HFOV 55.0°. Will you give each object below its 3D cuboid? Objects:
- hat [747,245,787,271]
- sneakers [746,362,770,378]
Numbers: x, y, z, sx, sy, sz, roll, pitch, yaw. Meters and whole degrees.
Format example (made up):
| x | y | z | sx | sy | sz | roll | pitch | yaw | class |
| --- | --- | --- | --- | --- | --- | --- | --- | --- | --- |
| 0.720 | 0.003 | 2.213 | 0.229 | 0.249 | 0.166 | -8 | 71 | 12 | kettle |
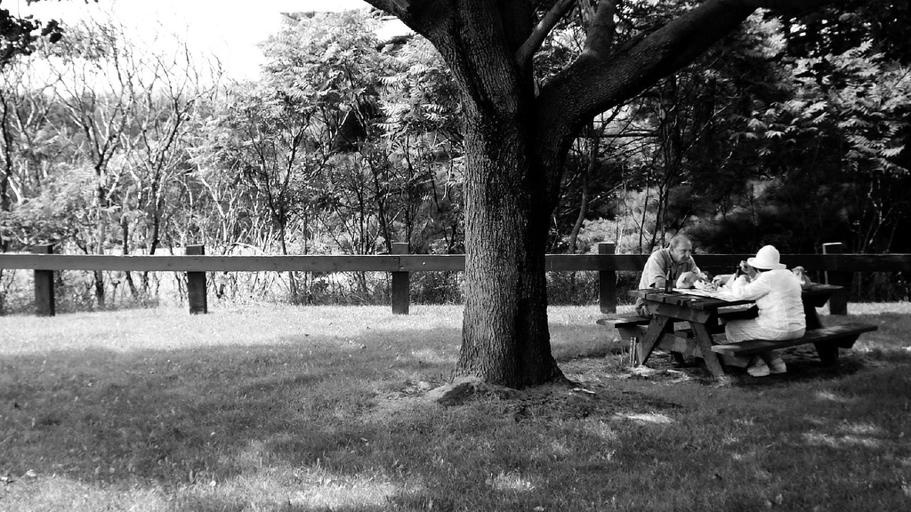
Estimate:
| x | y | z | sx | sy | sz | roll | pitch | yaw | class |
| --- | --- | --- | --- | --- | --- | --- | --- | --- | --- |
| 6.488 | 0.075 | 18.303 | 0.748 | 0.503 | 0.272 | -3 | -1 | 21 | hat |
| 6.355 | 2.406 | 18.385 | 0.247 | 0.187 | 0.414 | 2 | 3 | 44 | sneakers |
